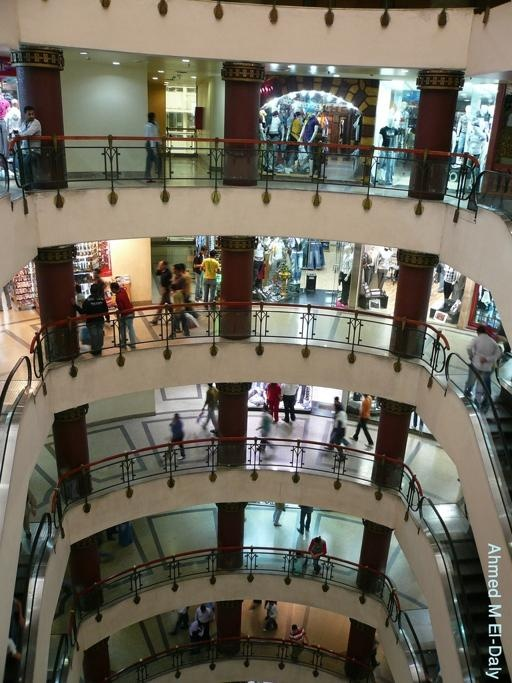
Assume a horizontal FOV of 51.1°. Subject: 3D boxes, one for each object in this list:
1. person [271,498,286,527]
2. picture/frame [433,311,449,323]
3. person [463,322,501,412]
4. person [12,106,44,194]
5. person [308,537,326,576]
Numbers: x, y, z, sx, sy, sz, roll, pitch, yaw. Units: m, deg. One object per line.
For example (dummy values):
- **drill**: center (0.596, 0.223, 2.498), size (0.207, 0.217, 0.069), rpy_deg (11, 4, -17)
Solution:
- **person**: center (0.664, 4.967, 15.525), size (0.345, 0.516, 0.750), rpy_deg (3, 15, 5)
- **picture/frame**: center (5.624, -0.755, 16.305), size (0.152, 0.325, 0.549), rpy_deg (-4, 17, -20)
- **person**: center (3.329, 0.358, 7.871), size (0.497, 1.095, 1.367), rpy_deg (8, 16, 24)
- **person**: center (-3.489, -3.028, 8.267), size (0.334, 1.299, 1.464), rpy_deg (-4, 16, -21)
- **person**: center (1.502, 5.337, 13.214), size (0.423, 0.808, 0.611), rpy_deg (3, 14, 7)
